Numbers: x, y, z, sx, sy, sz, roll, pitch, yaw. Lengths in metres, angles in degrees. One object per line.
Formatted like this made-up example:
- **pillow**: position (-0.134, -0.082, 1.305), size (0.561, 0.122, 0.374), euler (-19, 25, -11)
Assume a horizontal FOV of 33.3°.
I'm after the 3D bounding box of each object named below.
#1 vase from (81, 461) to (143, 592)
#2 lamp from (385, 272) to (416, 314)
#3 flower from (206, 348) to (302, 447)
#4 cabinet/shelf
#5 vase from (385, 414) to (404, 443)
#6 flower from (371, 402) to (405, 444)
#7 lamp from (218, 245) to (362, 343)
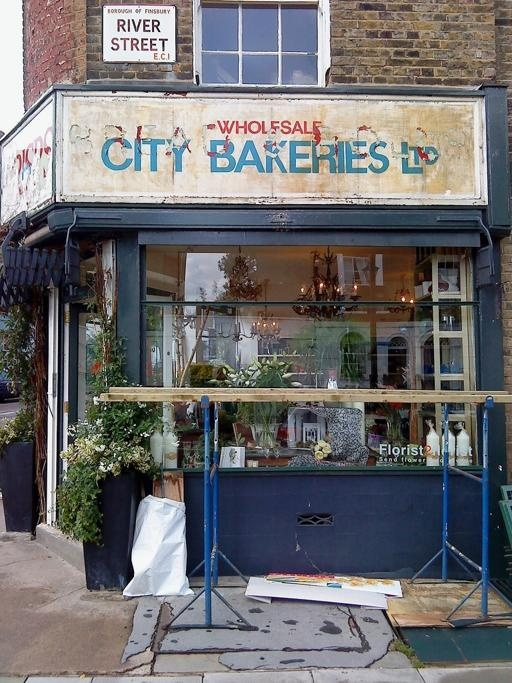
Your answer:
- **vase**: position (-1.204, 1.541, 7.137), size (0.500, 0.925, 0.578), euler (2, 15, -3)
- **lamp**: position (1.328, -0.424, 7.688), size (0.259, 0.399, 0.289), euler (2, 5, 5)
- **flower**: position (-0.015, 0.581, 7.919), size (0.709, 0.877, 0.745), euler (-1, -12, -3)
- **cabinet/shelf**: position (1.691, -0.191, 7.678), size (0.500, 1.202, 0.279), euler (2, 11, 9)
- **vase**: position (1.242, 0.779, 7.613), size (0.181, 0.331, 0.197), euler (-4, -6, 23)
- **flower**: position (1.178, 0.746, 7.693), size (0.290, 0.519, 0.285), euler (1, -10, -5)
- **lamp**: position (0.245, -0.440, 8.052), size (1.419, 0.967, 0.607), euler (-5, -3, 2)
